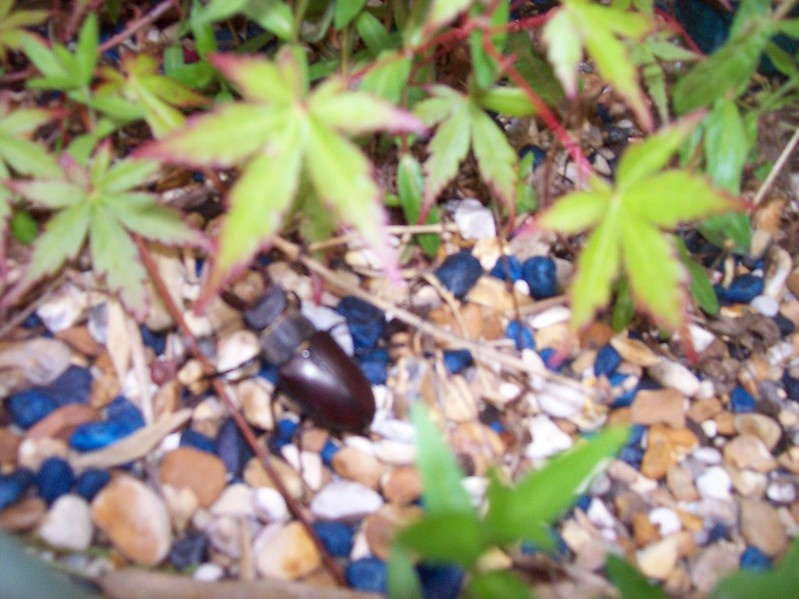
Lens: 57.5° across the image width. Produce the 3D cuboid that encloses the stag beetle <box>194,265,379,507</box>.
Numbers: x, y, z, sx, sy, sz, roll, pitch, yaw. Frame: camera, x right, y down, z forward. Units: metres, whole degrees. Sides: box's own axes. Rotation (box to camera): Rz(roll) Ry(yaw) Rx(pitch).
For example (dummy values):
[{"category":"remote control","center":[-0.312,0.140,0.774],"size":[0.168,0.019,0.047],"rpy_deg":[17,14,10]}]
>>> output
[{"category":"stag beetle","center":[-0.156,0.085,1.002],"size":[0.222,0.078,0.182],"rpy_deg":[45,64,-12]}]
